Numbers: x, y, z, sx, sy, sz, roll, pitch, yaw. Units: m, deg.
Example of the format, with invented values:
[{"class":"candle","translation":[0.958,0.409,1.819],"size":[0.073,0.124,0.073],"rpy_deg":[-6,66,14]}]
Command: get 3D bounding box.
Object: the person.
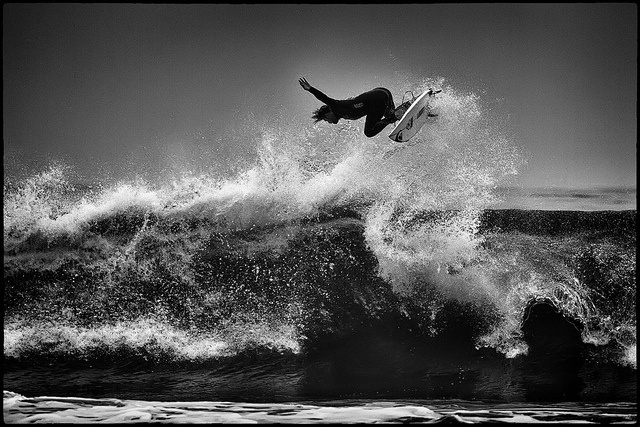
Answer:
[{"class":"person","translation":[0.386,-1.049,7.672],"size":[1.249,0.547,1.059],"rpy_deg":[2,18,10]}]
